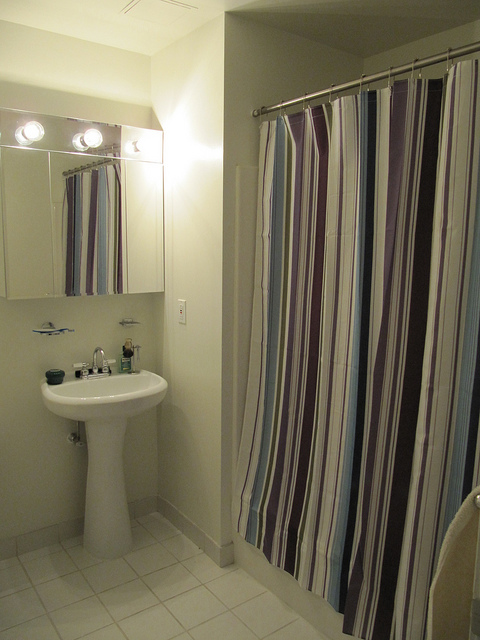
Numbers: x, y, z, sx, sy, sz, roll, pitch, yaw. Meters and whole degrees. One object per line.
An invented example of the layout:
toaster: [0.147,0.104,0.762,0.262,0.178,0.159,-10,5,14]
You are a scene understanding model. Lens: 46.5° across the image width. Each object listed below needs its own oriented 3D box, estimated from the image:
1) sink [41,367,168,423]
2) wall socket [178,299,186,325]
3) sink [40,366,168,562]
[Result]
sink: [-0.588,0.369,2.461,0.534,0.171,0.452,-4,9,-29]
wall socket: [-0.270,-0.034,2.592,0.006,0.112,0.075,-4,8,-31]
sink: [-0.591,0.686,2.517,0.429,0.841,0.289,-11,19,-42]
